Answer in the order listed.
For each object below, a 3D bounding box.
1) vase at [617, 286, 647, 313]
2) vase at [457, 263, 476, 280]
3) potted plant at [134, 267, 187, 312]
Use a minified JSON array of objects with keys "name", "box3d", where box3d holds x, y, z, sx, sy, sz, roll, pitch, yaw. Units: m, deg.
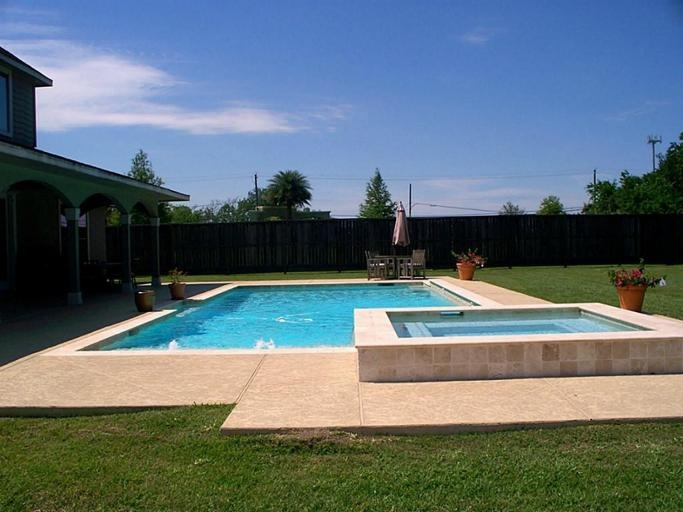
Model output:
[{"name":"vase","box3d":[5.094,0.745,9.017,0.530,0.429,0.519,0,-6,2]},{"name":"vase","box3d":[3.681,0.471,15.127,0.529,0.376,0.517,0,-4,0]},{"name":"potted plant","box3d":[-3.831,0.737,11.103,0.832,0.828,2.012,-2,-3,24]}]
